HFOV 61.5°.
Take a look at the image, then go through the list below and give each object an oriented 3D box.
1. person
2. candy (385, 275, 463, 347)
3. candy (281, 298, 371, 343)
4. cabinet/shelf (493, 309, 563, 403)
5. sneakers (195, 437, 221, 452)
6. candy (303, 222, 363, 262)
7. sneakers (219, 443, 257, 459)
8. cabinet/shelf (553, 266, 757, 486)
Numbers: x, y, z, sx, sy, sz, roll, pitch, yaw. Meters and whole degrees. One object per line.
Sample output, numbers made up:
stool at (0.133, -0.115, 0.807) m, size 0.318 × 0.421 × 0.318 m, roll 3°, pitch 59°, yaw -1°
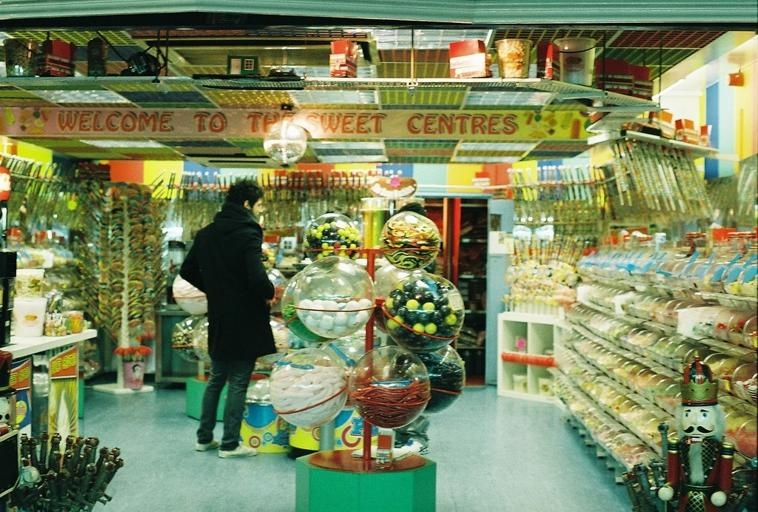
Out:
person at (-1.212, 0.546, 5.469) m, size 0.918 × 2.422 × 0.447 m, roll 4°, pitch 4°, yaw 39°
candy at (0.277, 0.344, 3.948) m, size 0.515 × 0.345 × 0.485 m, roll 2°, pitch -1°, yaw -8°
candy at (-0.313, 0.380, 4.140) m, size 0.490 × 0.198 × 0.414 m, roll -1°, pitch 0°, yaw -7°
cabinet/shelf at (1.831, 1.222, 7.729) m, size 0.495 × 1.071 × 1.299 m, roll 4°, pitch -5°, yaw -31°
sneakers at (-1.534, 1.704, 5.771) m, size 0.088 × 0.070 × 0.226 m, roll 1°, pitch 4°, yaw 43°
candy at (-0.303, -0.096, 4.277) m, size 0.361 × 0.205 × 0.305 m, roll 1°, pitch 1°, yaw -8°
sneakers at (-1.217, 1.714, 5.628) m, size 0.363 × 0.103 × 0.111 m, roll 1°, pitch -1°, yaw -16°
cabinet/shelf at (2.026, 0.896, 4.666) m, size 0.653 × 0.820 × 2.132 m, roll 1°, pitch 0°, yaw -1°
